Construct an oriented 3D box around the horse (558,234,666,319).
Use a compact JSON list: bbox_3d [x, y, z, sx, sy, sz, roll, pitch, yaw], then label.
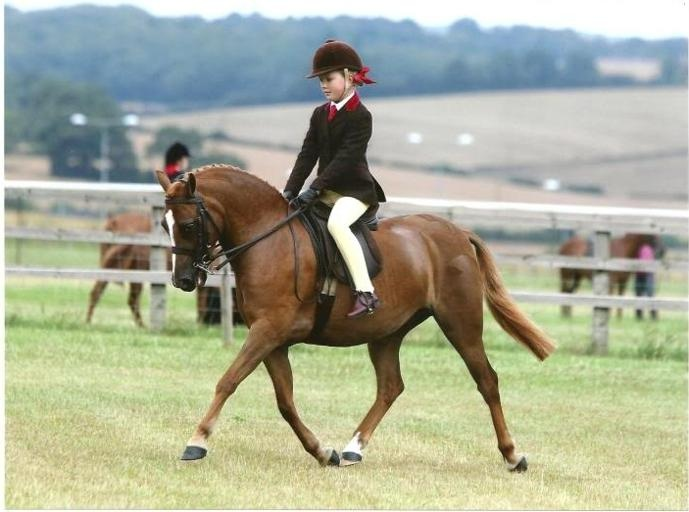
[{"bbox_3d":[10.967,0.626,63.364,6.117,4.382,1.625,2,15,35],"label":"horse"}]
